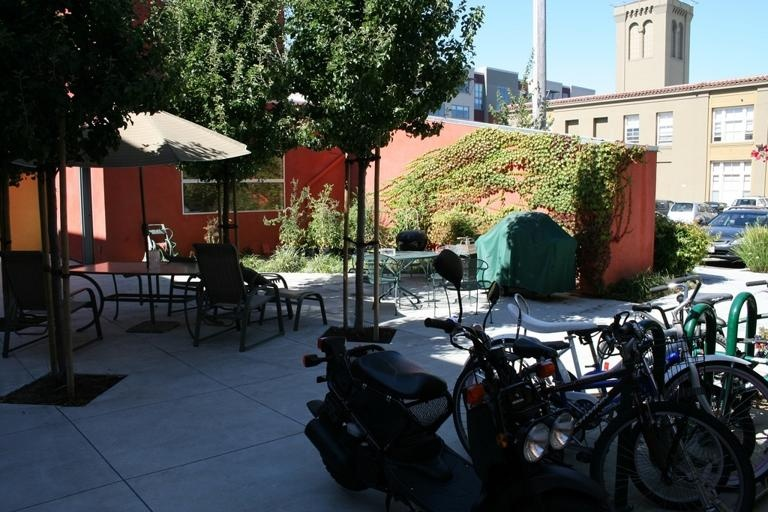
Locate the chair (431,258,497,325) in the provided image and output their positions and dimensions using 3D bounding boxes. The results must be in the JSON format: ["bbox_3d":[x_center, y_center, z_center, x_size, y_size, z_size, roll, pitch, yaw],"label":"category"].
[{"bbox_3d":[1.445,0.454,10.345,0.695,0.974,0.728,-4,30,-12],"label":"chair"}]
